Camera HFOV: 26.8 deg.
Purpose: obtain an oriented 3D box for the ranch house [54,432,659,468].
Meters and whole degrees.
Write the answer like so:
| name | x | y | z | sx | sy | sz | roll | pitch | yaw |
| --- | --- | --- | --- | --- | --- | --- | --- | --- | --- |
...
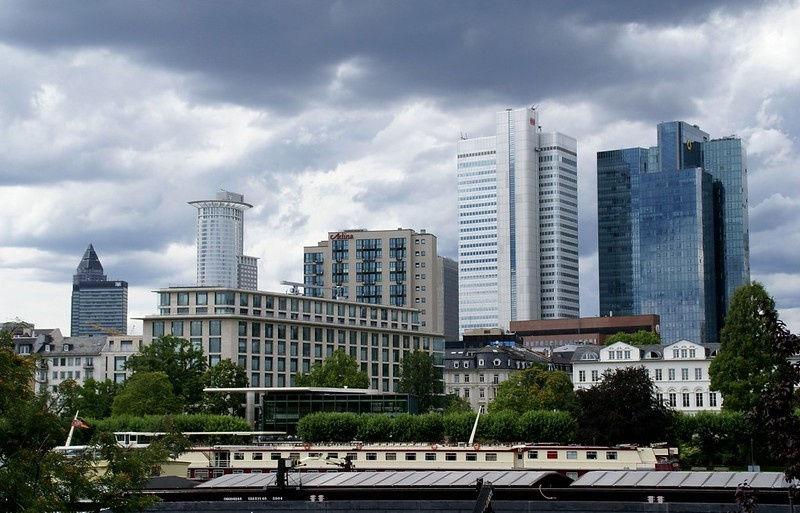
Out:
| name | x | y | z | sx | sy | sz | roll | pitch | yaw |
| --- | --- | --- | --- | --- | --- | --- | --- | --- | --- |
| ranch house | -5.427 | 25.034 | 216.467 | 49.787 | 2.932 | 6.587 | -3 | -5 | 15 |

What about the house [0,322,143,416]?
| name | x | y | z | sx | sy | sz | roll | pitch | yaw |
| --- | --- | --- | --- | --- | --- | --- | --- | --- | --- |
| house | -50.796 | 18.310 | 263.826 | 32.133 | 10.132 | 12.082 | 0 | 0 | 22 |

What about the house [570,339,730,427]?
| name | x | y | z | sx | sy | sz | roll | pitch | yaw |
| --- | --- | --- | --- | --- | --- | --- | --- | --- | --- |
| house | 44.208 | 21.796 | 301.536 | 26.482 | 13.287 | 13.716 | -4 | -7 | 15 |
